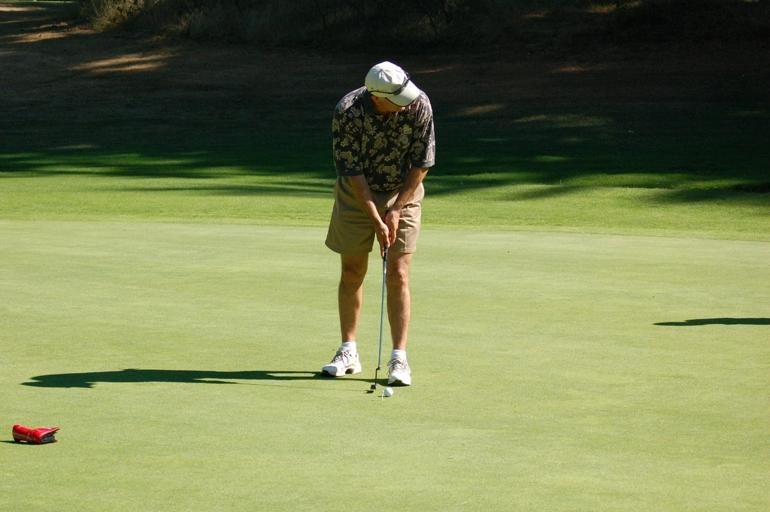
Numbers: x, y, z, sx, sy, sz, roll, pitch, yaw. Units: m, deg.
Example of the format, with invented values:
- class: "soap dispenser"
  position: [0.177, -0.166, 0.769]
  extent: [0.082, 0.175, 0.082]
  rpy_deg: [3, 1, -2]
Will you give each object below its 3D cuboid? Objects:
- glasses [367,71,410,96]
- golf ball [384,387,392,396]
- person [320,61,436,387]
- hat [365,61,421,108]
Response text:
- class: "glasses"
  position: [0.012, -1.380, 10.627]
  extent: [0.304, 0.170, 0.156]
  rpy_deg: [2, -27, 11]
- class: "golf ball"
  position: [0.011, 1.065, 10.522]
  extent: [0.074, 0.056, 0.051]
  rpy_deg: [-10, 6, -31]
- class: "person"
  position: [-0.068, -0.296, 10.952]
  extent: [0.889, 2.569, 0.767]
  rpy_deg: [2, 12, 0]
- class: "hat"
  position: [0.058, -1.385, 10.630]
  extent: [0.470, 0.299, 0.239]
  rpy_deg: [34, -20, 9]
